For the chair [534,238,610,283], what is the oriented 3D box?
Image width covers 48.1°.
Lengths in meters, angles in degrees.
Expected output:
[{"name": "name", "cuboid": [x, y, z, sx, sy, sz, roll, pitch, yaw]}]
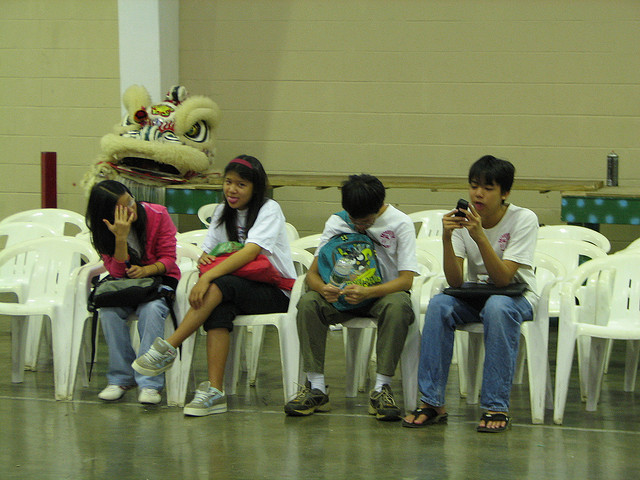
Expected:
[{"name": "chair", "cuboid": [1.554, 0.089, 4.389, 0.354, 0.393, 0.316, 2, -12, 33]}]

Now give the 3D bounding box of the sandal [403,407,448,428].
[{"name": "sandal", "cuboid": [0.524, 0.848, 3.456, 0.222, 0.072, 0.083, 7, -10, -45]}]

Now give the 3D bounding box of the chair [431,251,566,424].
[{"name": "chair", "cuboid": [1.039, 0.517, 3.835, 0.893, 1.052, 0.761, -1, -4, 22]}]

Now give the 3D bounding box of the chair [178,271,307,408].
[{"name": "chair", "cuboid": [-0.396, 0.509, 3.925, 0.657, 0.705, 0.771, 1, 6, 2]}]

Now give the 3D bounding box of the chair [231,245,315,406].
[{"name": "chair", "cuboid": [-0.286, 0.415, 3.826, 0.436, 0.660, 0.415, -4, 0, 34]}]

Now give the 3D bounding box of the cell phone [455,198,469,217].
[{"name": "cell phone", "cuboid": [0.696, -0.156, 3.482, 0.060, 0.084, 0.104, 6, 8, 39]}]

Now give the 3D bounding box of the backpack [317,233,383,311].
[{"name": "backpack", "cuboid": [0.234, 0.121, 3.698, 0.307, 0.372, 0.200, -10, 26, 27]}]

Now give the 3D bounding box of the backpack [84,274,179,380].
[{"name": "backpack", "cuboid": [-0.962, 0.388, 3.835, 0.569, 0.479, 0.474, -11, -4, 25]}]

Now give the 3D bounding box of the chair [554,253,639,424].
[{"name": "chair", "cuboid": [1.433, 0.481, 3.679, 0.359, 0.801, 0.617, 3, 7, 23]}]

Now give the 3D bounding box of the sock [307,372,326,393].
[{"name": "sock", "cuboid": [-0.018, 0.706, 3.591, 0.127, 0.124, 0.055, 2, 2, 1]}]

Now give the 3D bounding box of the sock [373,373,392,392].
[{"name": "sock", "cuboid": [0.315, 0.695, 3.588, 0.074, 0.096, 0.148, 1, 6, 5]}]

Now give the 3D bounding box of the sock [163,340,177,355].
[{"name": "sock", "cuboid": [-0.757, 0.542, 3.580, 0.084, 0.037, 0.032, 19, 8, 41]}]

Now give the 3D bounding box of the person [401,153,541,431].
[{"name": "person", "cuboid": [0.769, 0.242, 3.488, 0.499, 1.302, 0.593, 4, 7, 29]}]
